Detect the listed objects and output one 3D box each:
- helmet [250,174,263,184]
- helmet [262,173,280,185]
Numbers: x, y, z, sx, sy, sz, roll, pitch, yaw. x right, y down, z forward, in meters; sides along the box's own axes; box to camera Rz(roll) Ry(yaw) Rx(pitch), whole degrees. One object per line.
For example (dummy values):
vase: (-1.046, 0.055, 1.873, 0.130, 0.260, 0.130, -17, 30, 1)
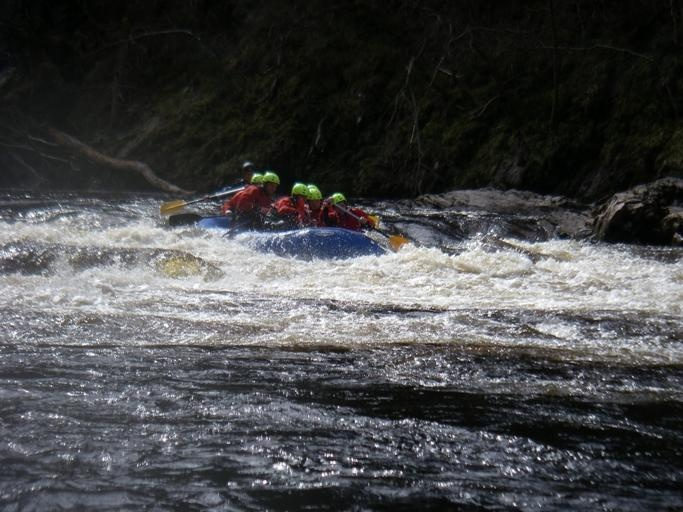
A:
helmet: (-2.138, -1.930, 22.785, 0.316, 0.142, 0.436, 1, 10, -26)
helmet: (-1.703, -1.855, 21.707, 0.389, 0.349, 0.282, -2, 6, -6)
